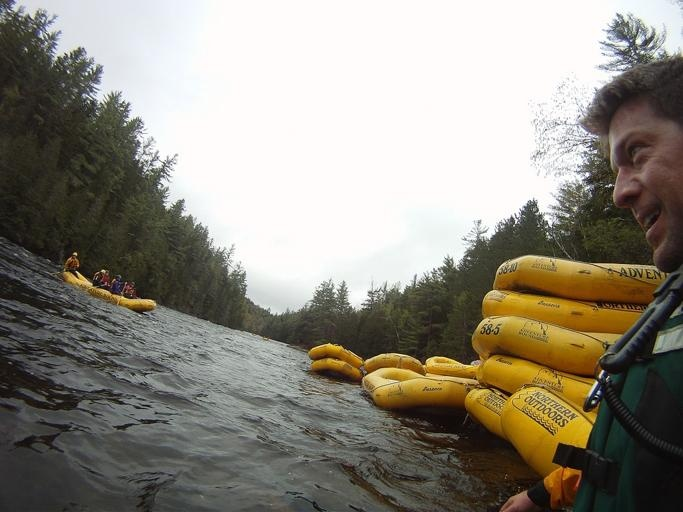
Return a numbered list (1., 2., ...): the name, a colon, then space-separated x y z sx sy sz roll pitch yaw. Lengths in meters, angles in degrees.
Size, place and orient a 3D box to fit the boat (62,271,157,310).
1. boat: -10.373 1.746 17.497 3.305 0.908 2.477 13 -8 9
